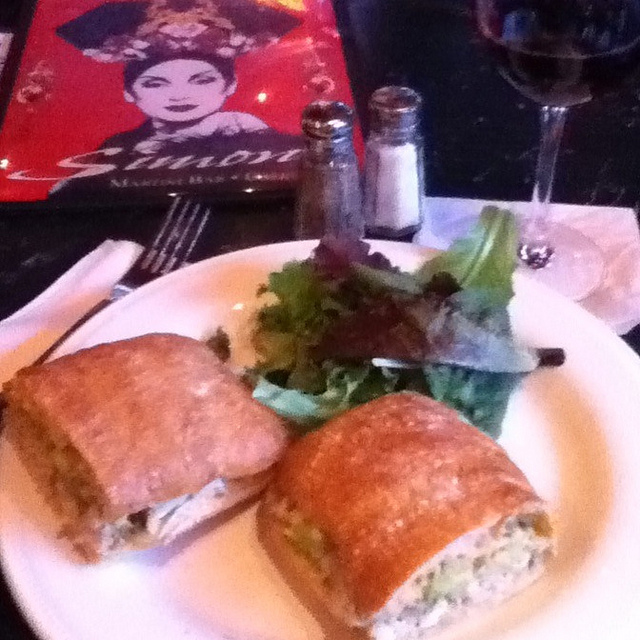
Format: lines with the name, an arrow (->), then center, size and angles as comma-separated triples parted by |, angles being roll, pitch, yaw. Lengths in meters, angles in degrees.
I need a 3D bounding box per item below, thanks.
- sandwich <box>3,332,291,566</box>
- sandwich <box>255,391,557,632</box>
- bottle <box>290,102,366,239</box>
sandwich -> -0.138, 0.086, 0.593 | 0.183, 0.105, 0.170 | -32, 59, -17
sandwich -> 0.054, 0.137, 0.555 | 0.194, 0.080, 0.168 | -24, 56, -13
bottle -> 0.005, -0.165, 0.863 | 0.079, 0.142, 0.109 | -1, 56, 5
